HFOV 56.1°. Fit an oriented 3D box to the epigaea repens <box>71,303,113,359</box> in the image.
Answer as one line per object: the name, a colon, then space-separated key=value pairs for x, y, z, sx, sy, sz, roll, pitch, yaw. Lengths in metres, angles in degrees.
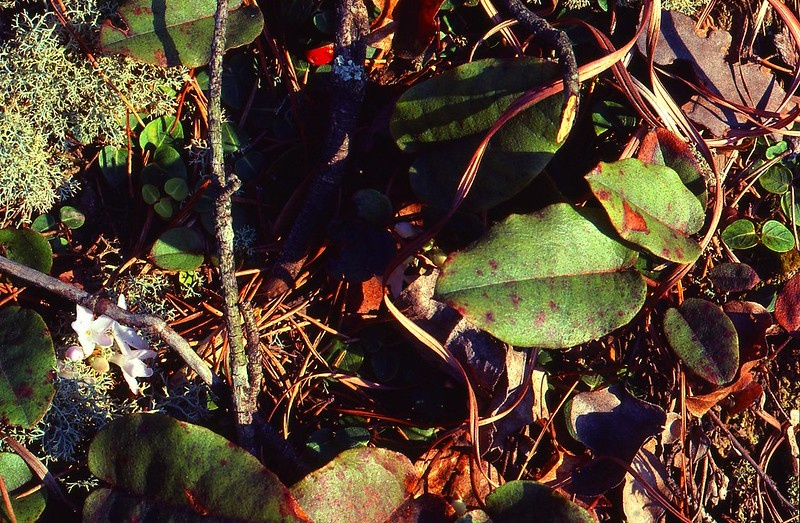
epigaea repens: x=-0.812 y=0.182 z=1.987 sx=0.099 sy=0.156 sz=0.102 roll=5 pitch=21 yaw=-18

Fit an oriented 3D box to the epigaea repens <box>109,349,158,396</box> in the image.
epigaea repens: x=-0.696 y=0.278 z=1.934 sx=0.121 sy=0.109 sz=0.049 roll=45 pitch=1 yaw=11
